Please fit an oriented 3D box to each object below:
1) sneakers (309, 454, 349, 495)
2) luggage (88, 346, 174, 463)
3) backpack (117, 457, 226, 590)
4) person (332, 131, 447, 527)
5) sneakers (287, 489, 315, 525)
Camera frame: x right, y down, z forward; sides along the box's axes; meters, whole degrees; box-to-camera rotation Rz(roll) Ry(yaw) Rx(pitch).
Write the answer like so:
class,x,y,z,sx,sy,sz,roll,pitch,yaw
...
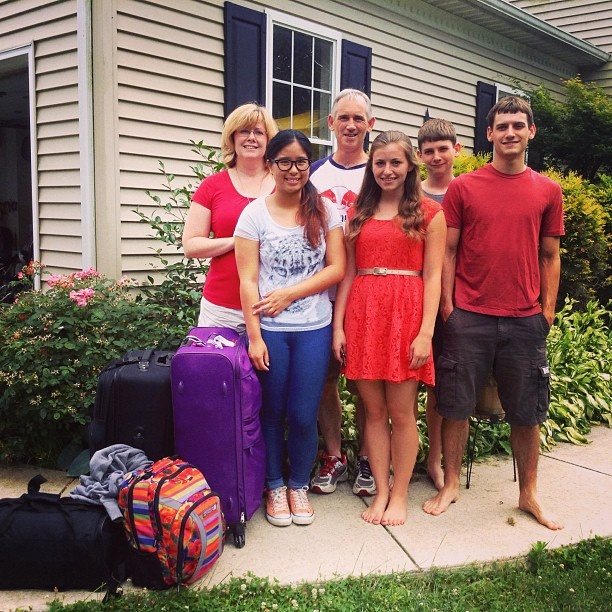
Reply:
class,x,y,z,sx,sy,sz,roll,pitch,yaw
sneakers,0.138,0.959,3.605,0.106,0.143,0.298,1,-1,22
luggage,-0.840,0.581,3.243,0.427,0.672,0.496,5,9,-14
backpack,-0.591,0.940,2.733,0.420,0.475,0.270,6,11,21
person,0.390,0.106,3.241,0.546,1.942,0.433,5,11,18
sneakers,-0.024,1.016,3.214,0.078,0.083,0.212,-5,16,-13
